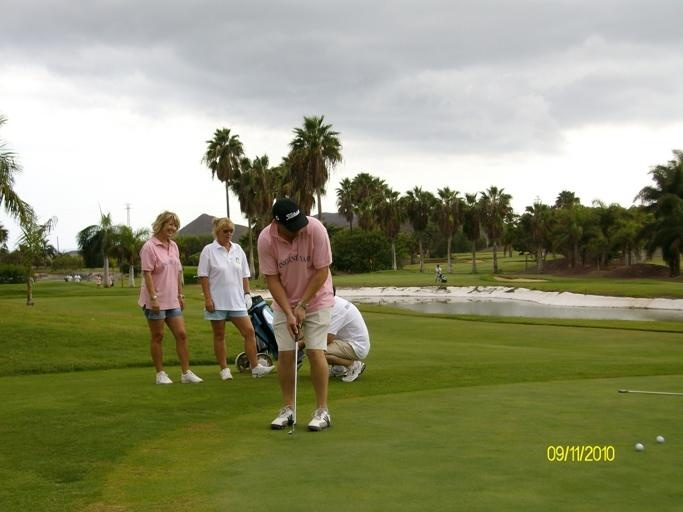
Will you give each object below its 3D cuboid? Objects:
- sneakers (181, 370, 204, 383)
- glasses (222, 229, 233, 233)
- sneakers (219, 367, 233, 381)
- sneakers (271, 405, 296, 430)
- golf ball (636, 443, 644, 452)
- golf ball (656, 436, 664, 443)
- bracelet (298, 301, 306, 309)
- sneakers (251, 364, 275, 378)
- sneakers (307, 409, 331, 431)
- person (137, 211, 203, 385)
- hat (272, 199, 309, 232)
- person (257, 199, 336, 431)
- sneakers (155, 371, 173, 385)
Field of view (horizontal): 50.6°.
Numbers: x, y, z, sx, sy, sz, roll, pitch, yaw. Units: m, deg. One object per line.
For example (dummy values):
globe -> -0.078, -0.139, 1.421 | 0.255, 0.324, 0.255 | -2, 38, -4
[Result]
sneakers -> -1.972, 1.586, 9.475 | 0.318, 0.180, 0.122 | -2, -2, 26
glasses -> -1.505, -0.343, 9.779 | 0.137, 0.050, 0.175 | 0, -1, 13
sneakers -> -1.573, 1.612, 9.849 | 0.134, 0.178, 0.385 | -1, -9, -16
sneakers -> -0.564, 1.627, 7.278 | 0.323, 0.188, 0.153 | 0, 0, -38
golf ball -> 2.674, 1.722, 6.484 | 0.052, 0.047, 0.059 | 1, -3, -44
golf ball -> 2.938, 1.694, 6.670 | 0.047, 0.042, 0.053 | 1, -2, -34
bracelet -> -0.400, 0.498, 7.410 | 0.062, 0.068, 0.019 | 6, -7, -3
sneakers -> -1.074, 1.540, 9.875 | 0.333, 0.135, 0.176 | -16, -48, 9
sneakers -> -0.199, 1.631, 7.224 | 0.285, 0.193, 0.227 | 0, 0, -20
person -> -2.277, 0.532, 9.538 | 0.733, 2.248, 0.754 | 0, 0, -25
hat -> -0.517, -0.428, 7.406 | 0.352, 0.352, 0.232 | 0, 0, -8
person -> -0.466, 0.553, 7.463 | 0.766, 2.334, 0.672 | 0, 0, -1
sneakers -> -2.274, 1.556, 9.283 | 0.192, 0.147, 0.236 | 0, 0, -14
